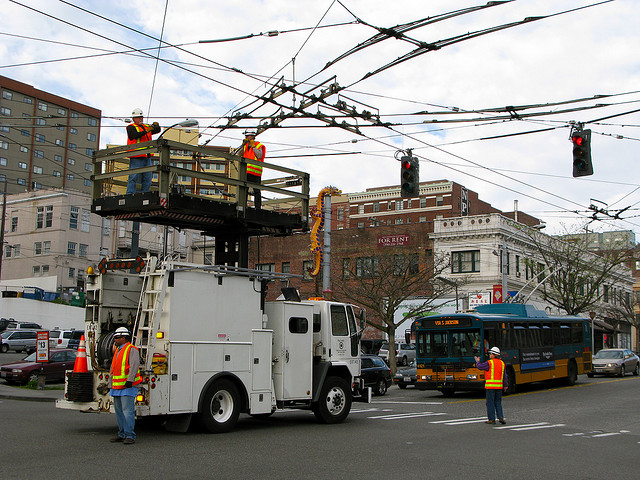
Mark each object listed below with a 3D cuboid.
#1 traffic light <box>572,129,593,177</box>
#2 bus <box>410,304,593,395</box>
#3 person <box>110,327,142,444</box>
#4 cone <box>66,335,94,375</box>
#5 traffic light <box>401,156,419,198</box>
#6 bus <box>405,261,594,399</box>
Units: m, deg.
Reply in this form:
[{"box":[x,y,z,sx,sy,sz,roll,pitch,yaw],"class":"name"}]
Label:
[{"box":[8.100,-2.655,26.778,0.610,1.491,0.360,-1,-5,29],"class":"traffic light"},{"box":[8.618,5.071,39.412,3.508,3.559,11.578,-6,-7,36],"class":"bus"},{"box":[-4.771,3.603,21.137,0.645,2.786,0.445,3,-4,-12],"class":"person"},{"box":[-6.152,3.010,22.341,0.584,1.007,0.303,0,-5,22],"class":"cone"},{"box":[2.905,-2.009,27.988,0.531,1.349,0.652,3,-4,-11],"class":"traffic light"},{"box":[7.504,5.366,39.209,3.505,5.259,10.016,-12,-18,39],"class":"bus"}]
